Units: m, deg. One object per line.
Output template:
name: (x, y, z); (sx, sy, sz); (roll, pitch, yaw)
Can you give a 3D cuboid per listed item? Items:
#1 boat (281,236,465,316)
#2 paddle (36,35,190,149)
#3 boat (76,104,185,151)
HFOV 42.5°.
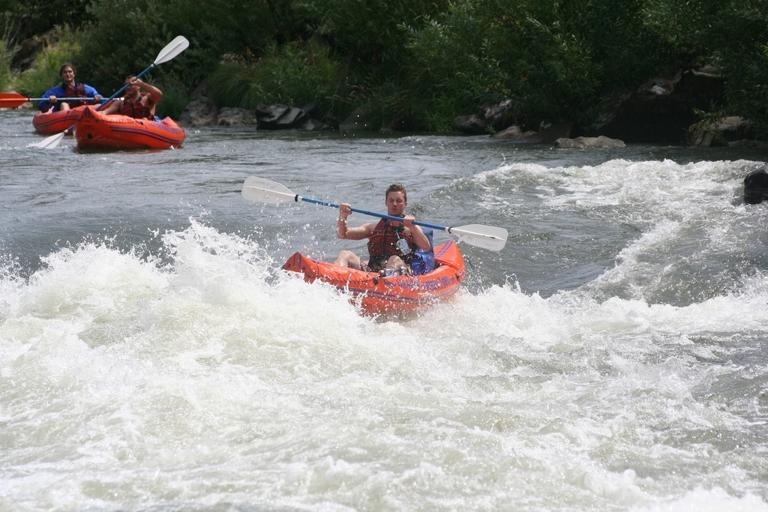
boat: (0.100, 0.280, 13.116); (1.022, 0.637, 2.073); (7, 5, 43)
paddle: (-5.878, -3.966, 22.838); (0.570, 0.199, 5.472); (33, -26, -29)
boat: (-5.434, -2.700, 21.228); (1.002, 0.525, 1.977); (11, 8, 28)
